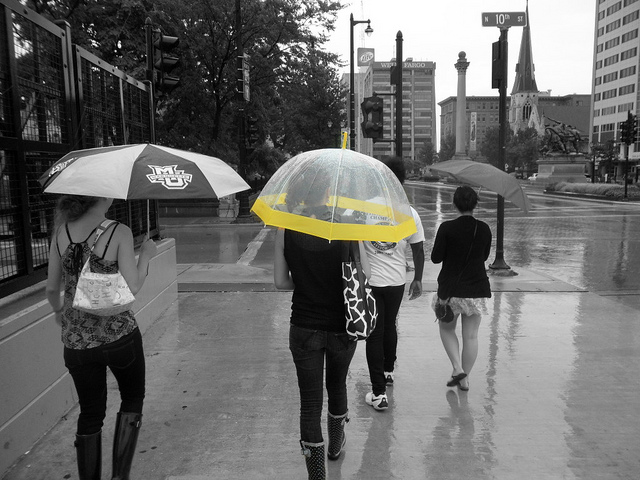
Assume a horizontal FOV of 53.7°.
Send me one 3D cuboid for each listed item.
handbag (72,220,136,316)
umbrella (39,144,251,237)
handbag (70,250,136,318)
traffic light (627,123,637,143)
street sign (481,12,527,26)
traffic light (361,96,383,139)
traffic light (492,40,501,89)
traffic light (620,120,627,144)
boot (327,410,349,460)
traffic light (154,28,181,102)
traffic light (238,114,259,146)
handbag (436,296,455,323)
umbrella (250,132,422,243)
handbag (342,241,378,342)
[{"bbox_3d":[-1.702,0.211,4.929,0.440,0.748,0.336,7,41,-18],"label":"handbag"},{"bbox_3d":[-1.483,-0.532,5.510,1.014,0.657,1.097,-1,2,-2],"label":"umbrella"},{"bbox_3d":[-1.737,0.364,5.036,0.448,0.526,0.196,-1,-8,-21],"label":"handbag"},{"bbox_3d":[16.642,-5.714,33.704,0.341,1.091,1.566,6,13,30],"label":"traffic light"},{"bbox_3d":[3.509,-4.208,12.020,0.803,0.280,0.606,3,13,15],"label":"street sign"},{"bbox_3d":[1.179,-2.726,14.114,0.404,0.952,0.680,0,11,1],"label":"traffic light"},{"bbox_3d":[3.419,-3.411,12.252,0.153,0.903,0.428,2,11,15],"label":"traffic light"},{"bbox_3d":[16.251,-5.737,33.675,0.353,1.111,1.332,5,13,26],"label":"traffic light"},{"bbox_3d":[0.144,1.727,5.587,0.142,0.516,0.179,-1,11,-6],"label":"boot"},{"bbox_3d":[-2.857,-3.349,11.715,0.455,1.144,0.622,-3,11,-15],"label":"traffic light"},{"bbox_3d":[-2.708,-4.134,23.845,0.815,1.452,0.422,1,38,-4],"label":"traffic light"},{"bbox_3d":[1.352,0.737,6.781,0.112,0.148,0.230,13,50,15],"label":"handbag"},{"bbox_3d":[0.184,-0.435,5.501,1.509,0.778,1.549,0,13,-38],"label":"umbrella"},{"bbox_3d":[0.335,0.426,5.110,0.290,0.814,0.225,-8,13,-36],"label":"handbag"}]
